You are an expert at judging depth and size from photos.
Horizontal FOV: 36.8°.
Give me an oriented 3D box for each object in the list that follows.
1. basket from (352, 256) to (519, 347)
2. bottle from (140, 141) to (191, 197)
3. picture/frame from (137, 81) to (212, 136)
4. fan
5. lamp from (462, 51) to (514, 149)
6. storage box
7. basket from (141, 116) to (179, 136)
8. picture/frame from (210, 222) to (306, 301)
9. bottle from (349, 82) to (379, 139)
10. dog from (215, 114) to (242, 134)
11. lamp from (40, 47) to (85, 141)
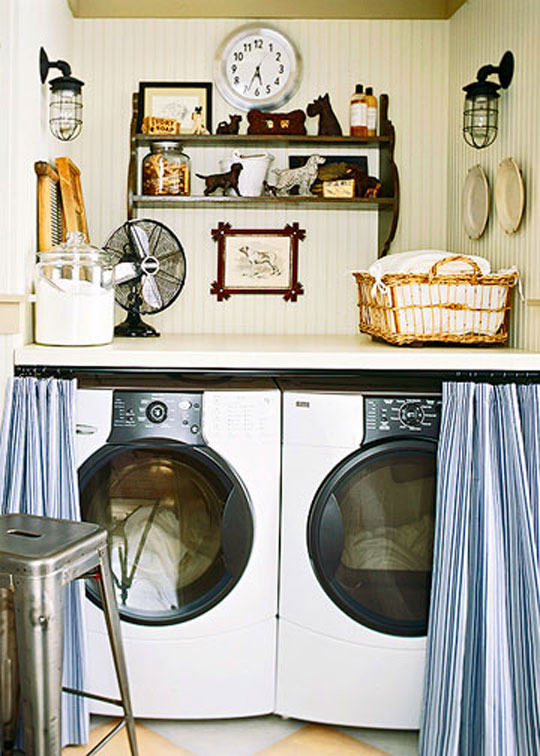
[{"bbox_3d":[0.476,-0.208,2.316,0.236,0.172,0.349,0,0,-2],"label":"basket"},{"bbox_3d":[-0.347,-0.677,2.726,0.161,0.205,0.169,-1,-4,0],"label":"bottle"},{"bbox_3d":[-0.324,-0.921,2.793,0.197,0.191,0.018,0,-1,1],"label":"picture/frame"},{"bbox_3d":[-0.411,-0.307,2.548,0.250,0.360,0.144,3,-1,-24],"label":"fan"},{"bbox_3d":[0.633,-0.808,2.362,0.120,0.283,0.119,2,5,1],"label":"lamp"},{"bbox_3d":[0.466,-0.222,2.346,0.492,0.260,0.353,3,8,17],"label":"storage box"},{"bbox_3d":[-0.369,-0.838,2.723,0.130,0.074,0.138,-1,8,-7],"label":"basket"},{"bbox_3d":[-0.047,-0.425,2.888,0.235,0.228,0.018,0,3,-2],"label":"picture/frame"},{"bbox_3d":[0.321,-0.892,2.726,0.092,0.165,0.072,0,7,-3],"label":"bottle"},{"bbox_3d":[-0.137,-0.854,2.748,0.086,0.095,0.187,0,8,-3],"label":"dog"},{"bbox_3d":[-0.610,-0.823,2.383,0.115,0.270,0.099,0,0,-9],"label":"lamp"}]
